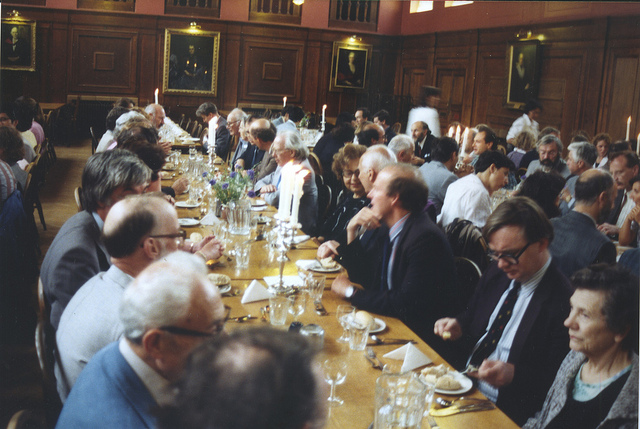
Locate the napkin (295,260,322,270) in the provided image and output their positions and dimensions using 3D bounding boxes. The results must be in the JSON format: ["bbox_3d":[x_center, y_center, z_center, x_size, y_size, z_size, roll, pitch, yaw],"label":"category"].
[{"bbox_3d":[-0.079,0.338,3.533,0.150,0.026,0.171,-3,14,-28],"label":"napkin"}]

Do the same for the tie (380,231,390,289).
[{"bbox_3d":[0.443,0.326,3.445,0.071,0.274,0.290,3,5,5],"label":"tie"}]

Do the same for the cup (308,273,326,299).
[{"bbox_3d":[-0.010,0.437,3.146,0.137,0.143,0.133,0,-3,0],"label":"cup"}]

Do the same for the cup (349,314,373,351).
[{"bbox_3d":[0.200,0.591,2.626,0.127,0.146,0.129,3,11,-1],"label":"cup"}]

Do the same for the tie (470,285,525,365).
[{"bbox_3d":[1.007,0.630,2.860,0.069,0.509,0.076,29,-9,8],"label":"tie"}]

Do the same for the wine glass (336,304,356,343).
[{"bbox_3d":[0.134,0.578,2.708,0.150,0.243,0.162,1,-8,1],"label":"wine glass"}]

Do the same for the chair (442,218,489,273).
[{"bbox_3d":[1.069,0.240,3.737,0.256,0.488,0.341,-7,8,-22],"label":"chair"}]

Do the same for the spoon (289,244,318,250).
[{"bbox_3d":[-0.134,0.233,3.902,0.191,0.022,0.055,-3,22,-15],"label":"spoon"}]

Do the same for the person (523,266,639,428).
[{"bbox_3d":[1.249,0.663,2.310,0.234,0.862,0.435,-6,15,-35],"label":"person"}]

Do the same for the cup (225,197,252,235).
[{"bbox_3d":[-0.626,0.007,3.859,0.189,0.280,0.290,2,2,-37],"label":"cup"}]

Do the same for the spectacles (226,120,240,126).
[{"bbox_3d":[-1.457,-1.545,8.487,0.109,0.085,0.288,-8,17,-42],"label":"spectacles"}]

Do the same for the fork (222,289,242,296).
[{"bbox_3d":[-0.529,0.468,3.084,0.137,0.029,0.026,9,-31,-41],"label":"fork"}]

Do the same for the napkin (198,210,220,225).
[{"bbox_3d":[-0.936,0.043,4.339,0.148,0.119,0.108,6,-5,-21],"label":"napkin"}]

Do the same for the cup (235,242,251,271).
[{"bbox_3d":[-0.541,0.291,3.481,0.135,0.176,0.131,-2,-7,0],"label":"cup"}]

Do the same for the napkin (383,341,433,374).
[{"bbox_3d":[0.437,0.687,2.547,0.197,0.095,0.173,-6,16,-38],"label":"napkin"}]
